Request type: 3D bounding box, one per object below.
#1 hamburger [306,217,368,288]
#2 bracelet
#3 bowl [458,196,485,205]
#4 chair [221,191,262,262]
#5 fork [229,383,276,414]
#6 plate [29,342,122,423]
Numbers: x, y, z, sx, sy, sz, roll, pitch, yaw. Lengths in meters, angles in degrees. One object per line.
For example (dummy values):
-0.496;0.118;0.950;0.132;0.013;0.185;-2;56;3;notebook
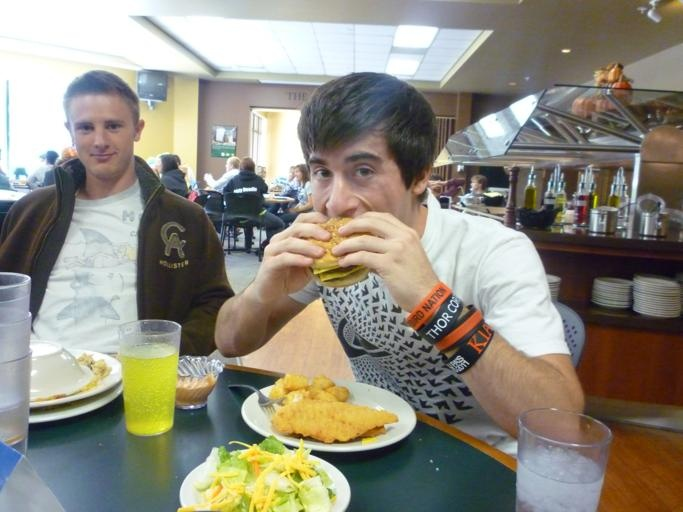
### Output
-0.015;-0.022;1.261;0.185;0.068;0.174;-7;17;-3;hamburger
0.263;0.164;1.267;0.178;0.178;0.224;45;-2;-8;bracelet
1.898;-0.819;6.776;0.262;0.127;0.346;-1;3;3;bowl
-1.584;-0.473;7.612;0.766;1.113;0.856;-1;-12;-4;chair
-0.216;0.342;1.180;0.045;0.028;0.196;-6;11;-31;fork
-0.611;0.304;1.082;0.218;0.053;0.220;2;5;3;plate
